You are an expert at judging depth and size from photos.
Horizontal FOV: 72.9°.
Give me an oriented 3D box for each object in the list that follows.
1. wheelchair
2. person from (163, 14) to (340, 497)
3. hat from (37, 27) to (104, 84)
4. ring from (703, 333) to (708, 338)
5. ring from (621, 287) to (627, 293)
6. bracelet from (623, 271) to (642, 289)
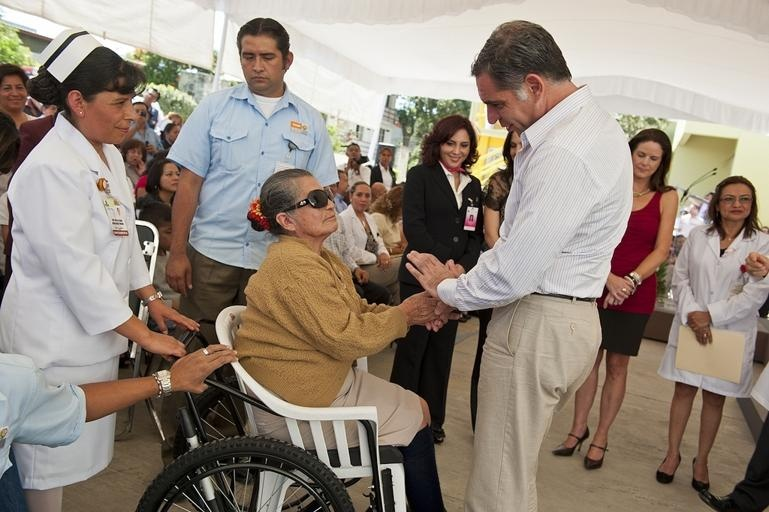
[{"bbox_3d":[-0.497,0.855,2.886,1.105,1.290,0.909,-2,7,-1],"label":"wheelchair"},{"bbox_3d":[-0.856,-0.089,3.427,1.072,2.896,0.914,2,11,-34],"label":"person"},{"bbox_3d":[-1.400,-0.902,2.325,0.253,0.249,0.135,7,11,-1],"label":"hat"},{"bbox_3d":[2.296,0.572,3.734,0.020,0.029,0.009,0,-9,11],"label":"ring"},{"bbox_3d":[1.677,0.238,3.659,0.066,0.038,0.018,23,-15,-36],"label":"ring"},{"bbox_3d":[1.775,0.165,3.711,0.111,0.099,0.112,12,-3,-27],"label":"bracelet"}]
